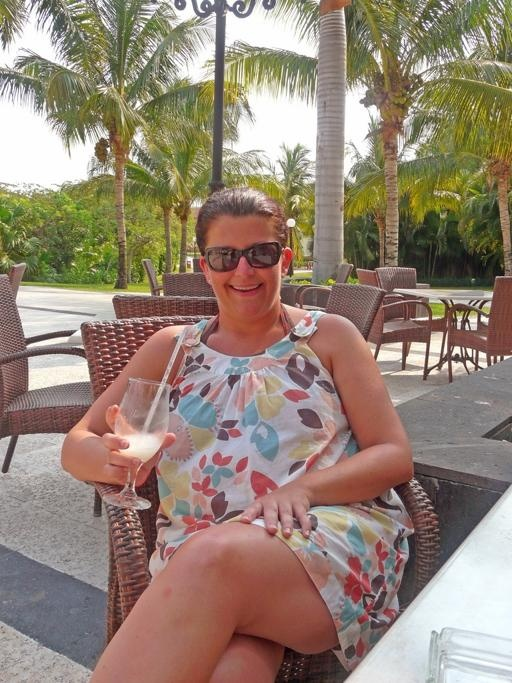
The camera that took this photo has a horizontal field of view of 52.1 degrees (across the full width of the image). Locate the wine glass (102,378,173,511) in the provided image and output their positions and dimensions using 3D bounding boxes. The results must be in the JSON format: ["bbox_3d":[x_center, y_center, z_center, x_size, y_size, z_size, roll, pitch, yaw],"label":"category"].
[{"bbox_3d":[-0.272,0.238,1.222,0.155,0.330,0.125,8,12,33],"label":"wine glass"}]
